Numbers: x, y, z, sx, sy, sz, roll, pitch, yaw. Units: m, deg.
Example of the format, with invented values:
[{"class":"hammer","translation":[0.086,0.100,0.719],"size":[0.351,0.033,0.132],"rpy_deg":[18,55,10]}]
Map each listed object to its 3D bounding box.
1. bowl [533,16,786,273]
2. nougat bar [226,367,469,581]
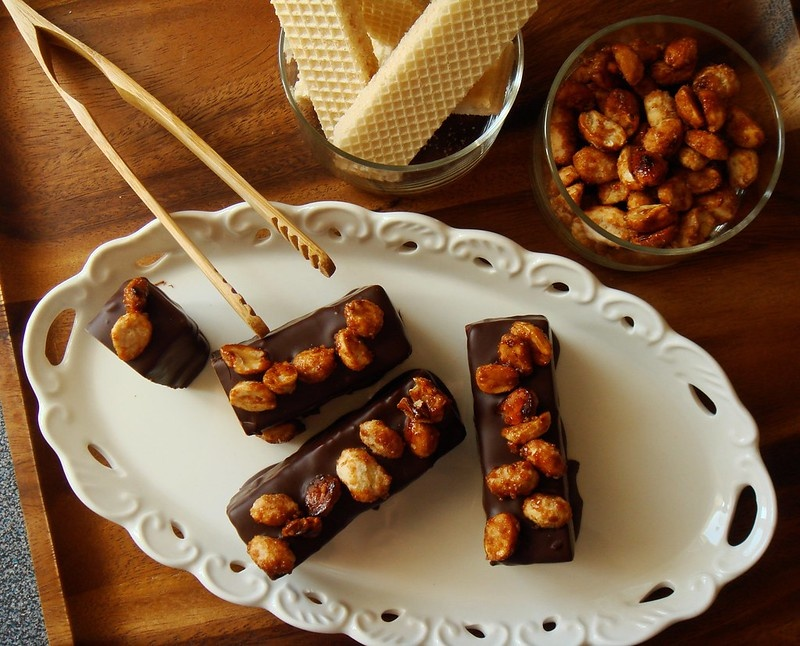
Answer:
[{"class":"bowl","translation":[0.535,-0.271,1.544],"size":[0.210,0.353,0.363],"rpy_deg":[26,36,22]},{"class":"nougat bar","translation":[-0.105,0.294,1.628],"size":[0.634,0.253,0.247],"rpy_deg":[-32,-12,6]}]
